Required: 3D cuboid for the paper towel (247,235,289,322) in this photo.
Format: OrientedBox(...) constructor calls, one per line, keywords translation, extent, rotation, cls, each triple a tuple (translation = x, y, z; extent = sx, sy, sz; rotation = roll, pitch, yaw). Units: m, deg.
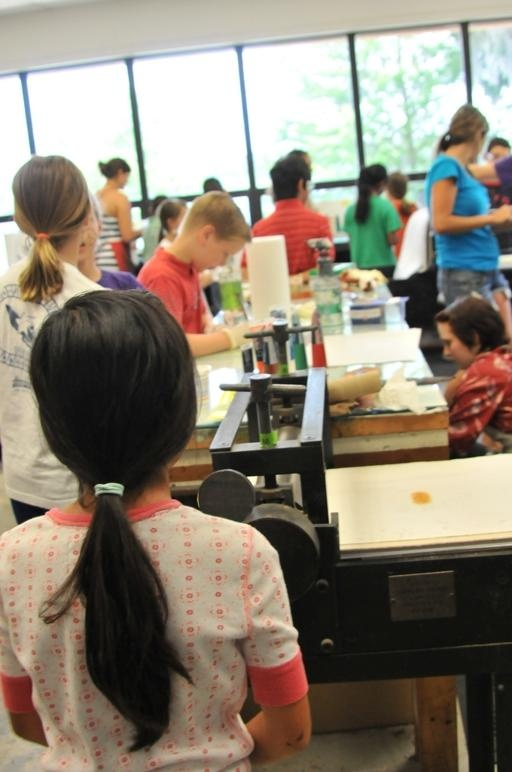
OrientedBox(translation=(0.031, -0.415, 2.188), extent=(0.153, 0.142, 0.204), rotation=(0, 49, 4), cls="paper towel")
